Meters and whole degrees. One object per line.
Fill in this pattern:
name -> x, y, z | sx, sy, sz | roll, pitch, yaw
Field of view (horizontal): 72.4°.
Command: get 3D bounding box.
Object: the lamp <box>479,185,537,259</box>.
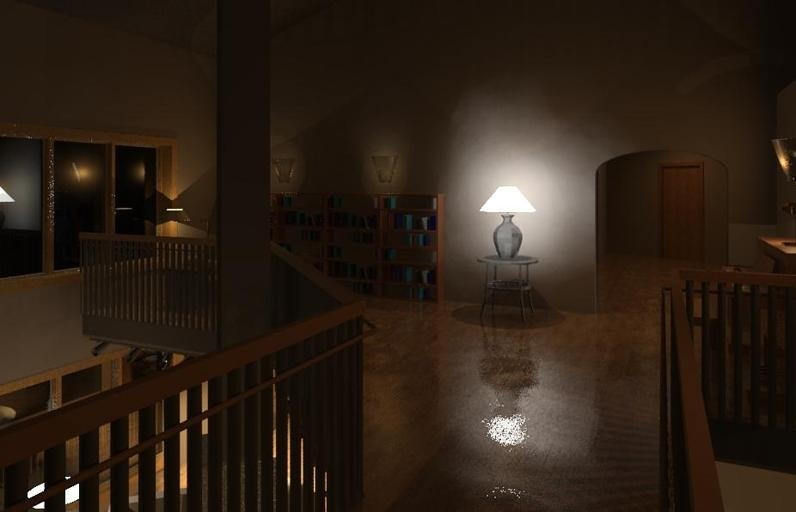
lamp -> 1.574, -0.507, 8.281 | 1.026, 1.231, 1.003 | -2, 4, -41

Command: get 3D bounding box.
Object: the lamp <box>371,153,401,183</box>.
lamp -> -0.207, -1.493, 9.454 | 0.470, 0.471, 0.461 | -1, 0, 12

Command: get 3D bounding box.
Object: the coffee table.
coffee table -> 1.711, 0.410, 8.386 | 0.892, 0.931, 1.062 | -1, 11, 10

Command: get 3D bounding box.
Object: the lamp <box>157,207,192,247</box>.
lamp -> -4.261, -0.646, 10.191 | 0.570, 0.521, 0.186 | -9, 12, -30
